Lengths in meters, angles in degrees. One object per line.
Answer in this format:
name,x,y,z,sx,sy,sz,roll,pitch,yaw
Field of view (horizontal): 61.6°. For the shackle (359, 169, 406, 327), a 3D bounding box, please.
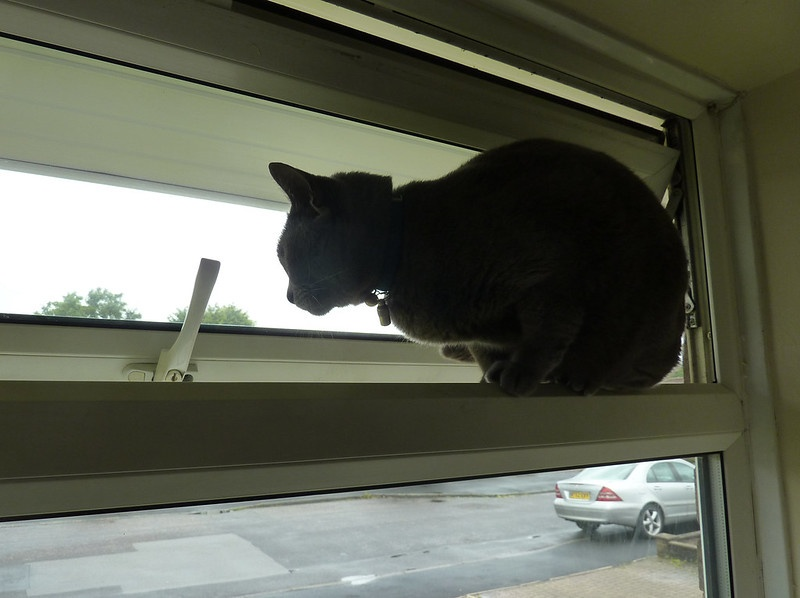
shackle,-0.054,-0.080,1.116,0.070,0.229,0.095,0,5,-30
